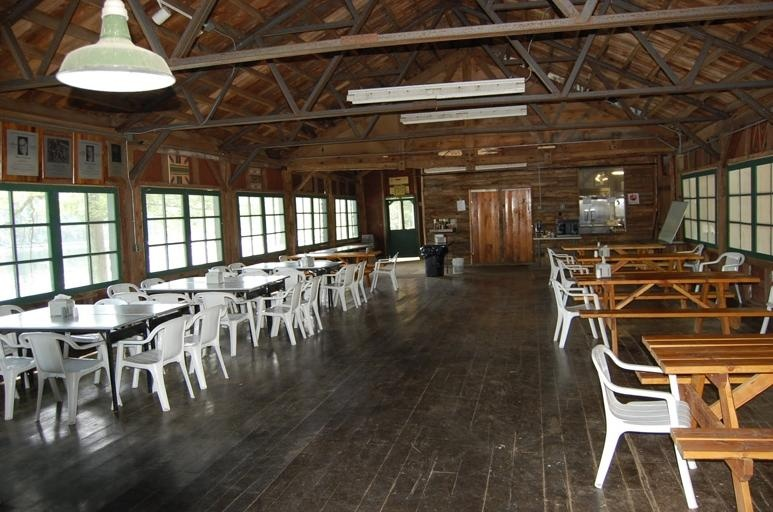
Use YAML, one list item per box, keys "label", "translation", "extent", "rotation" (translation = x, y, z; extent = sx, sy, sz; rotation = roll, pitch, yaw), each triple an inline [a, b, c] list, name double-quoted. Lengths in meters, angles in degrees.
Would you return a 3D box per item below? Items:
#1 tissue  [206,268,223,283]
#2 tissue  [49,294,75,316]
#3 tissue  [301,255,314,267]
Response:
- label: "tissue "
  translation: [-2.793, 0.339, 8.621]
  extent: [0.292, 0.186, 0.282]
  rotation: [1, -5, -44]
- label: "tissue "
  translation: [-4.139, 0.642, 6.656]
  extent: [0.262, 0.255, 0.307]
  rotation: [-6, 5, -35]
- label: "tissue "
  translation: [-1.546, 0.111, 10.392]
  extent: [0.290, 0.202, 0.273]
  rotation: [5, 9, 40]
